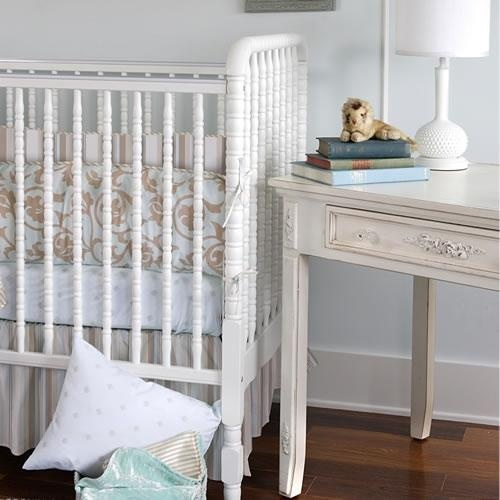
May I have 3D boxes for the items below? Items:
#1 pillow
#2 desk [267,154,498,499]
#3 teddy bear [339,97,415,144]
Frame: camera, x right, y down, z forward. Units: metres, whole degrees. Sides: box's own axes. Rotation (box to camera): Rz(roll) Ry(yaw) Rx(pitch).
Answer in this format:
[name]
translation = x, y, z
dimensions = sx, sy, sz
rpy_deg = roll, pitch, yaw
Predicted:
[pillow]
translation = -0.329, 0.397, 1.592
dimensions = 0.390, 0.325, 0.125
rpy_deg = 22, -16, 5
[desk]
translation = 0.375, 0.226, 1.839
dimensions = 0.764, 0.840, 0.629
rpy_deg = 0, 4, 9
[teddy bear]
translation = 0.308, -0.296, 1.671
dimensions = 0.165, 0.085, 0.104
rpy_deg = 16, 0, -42
